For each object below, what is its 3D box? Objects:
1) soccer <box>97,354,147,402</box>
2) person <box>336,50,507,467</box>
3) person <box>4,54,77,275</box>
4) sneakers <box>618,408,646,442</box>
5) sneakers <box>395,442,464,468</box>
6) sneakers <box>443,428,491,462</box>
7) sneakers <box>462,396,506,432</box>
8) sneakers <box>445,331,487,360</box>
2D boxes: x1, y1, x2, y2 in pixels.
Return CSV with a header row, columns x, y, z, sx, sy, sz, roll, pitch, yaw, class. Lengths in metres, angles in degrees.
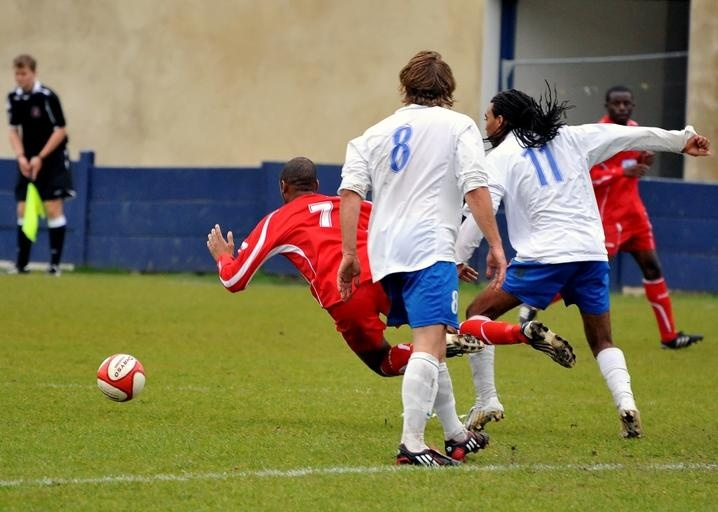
x,y,z,sx,sy,sz,roll,pitch,yaw,class
-2.029,1.030,9.815,0.420,0.438,0.438,0,11,-4,soccer
0.515,0.005,9.037,0.891,3.090,0.982,-11,18,-43,person
-3.378,-1.001,12.444,0.574,2.231,0.910,-10,17,-40,person
2.217,1.355,9.431,0.191,0.256,0.137,2,13,6,sneakers
0.535,1.536,8.994,0.453,0.193,0.171,3,0,-10,sneakers
0.849,1.453,9.209,0.403,0.218,0.159,-24,20,-21,sneakers
1.030,1.308,9.554,0.425,0.170,0.210,-35,5,-3,sneakers
0.818,0.709,9.185,0.372,0.166,0.141,-3,36,-3,sneakers
